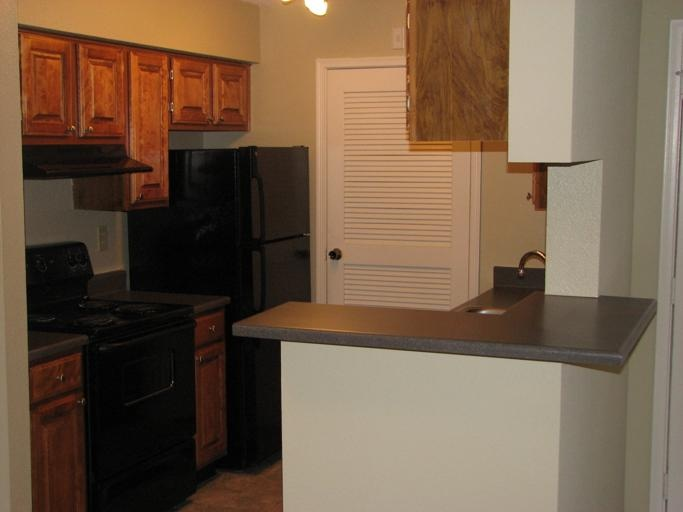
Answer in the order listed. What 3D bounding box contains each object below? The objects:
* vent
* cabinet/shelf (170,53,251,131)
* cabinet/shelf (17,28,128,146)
[{"bbox_3d":[-1.333,-0.504,3.290,0.219,0.178,0.699,3,9,27],"label":"vent"},{"bbox_3d":[-0.964,-1.076,4.198,0.365,0.451,0.696,11,15,35],"label":"cabinet/shelf"},{"bbox_3d":[-1.493,-0.872,3.335,0.305,0.543,0.656,11,13,27],"label":"cabinet/shelf"}]
